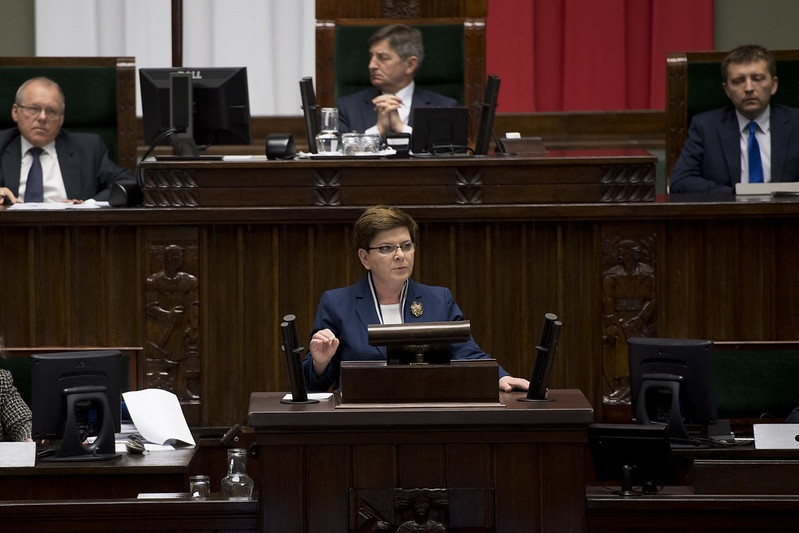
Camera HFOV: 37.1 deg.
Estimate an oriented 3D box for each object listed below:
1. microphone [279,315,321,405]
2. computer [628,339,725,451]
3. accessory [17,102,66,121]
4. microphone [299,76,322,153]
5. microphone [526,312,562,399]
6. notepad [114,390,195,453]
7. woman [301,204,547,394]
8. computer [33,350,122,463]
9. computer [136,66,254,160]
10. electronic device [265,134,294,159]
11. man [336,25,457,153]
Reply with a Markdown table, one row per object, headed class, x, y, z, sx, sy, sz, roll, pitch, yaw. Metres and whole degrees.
| class | x | y | z | sx | sy | sz | roll | pitch | yaw |
| --- | --- | --- | --- | --- | --- | --- | --- | --- | --- |
| microphone | -0.405 | 0.356 | 4.761 | 0.107 | 0.336 | 0.367 | -1 | 2 | -5 |
| computer | 1.168 | 0.474 | 5.250 | 0.557 | 0.645 | 0.379 | 0 | 3 | 10 |
| accessory | -1.987 | -0.861 | 6.653 | 0.231 | 0.080 | 0.101 | -2 | 3 | -22 |
| microphone | -0.445 | -0.757 | 6.026 | 0.077 | 0.382 | 0.265 | -1 | 2 | -4 |
| microphone | 0.579 | 0.349 | 4.730 | 0.126 | 0.322 | 0.239 | -1 | 3 | 11 |
| notepad | -1.020 | 0.649 | 5.107 | 0.271 | 0.262 | 0.074 | -10 | -16 | -42 |
| woman | -0.033 | 0.132 | 5.072 | 0.746 | 0.771 | 0.569 | -2 | 3 | -15 |
| computer | -1.330 | 0.547 | 5.012 | 0.428 | 0.546 | 0.388 | 0 | 4 | -13 |
| computer | -1.062 | -0.804 | 6.220 | 0.767 | 0.566 | 0.256 | 0 | 15 | 1 |
| electronic device | -0.582 | -0.586 | 5.890 | 0.131 | 0.131 | 0.120 | 1 | -23 | 5 |
| man | 0.012 | -1.056 | 6.916 | 0.610 | 0.652 | 0.583 | -3 | 3 | -33 |
